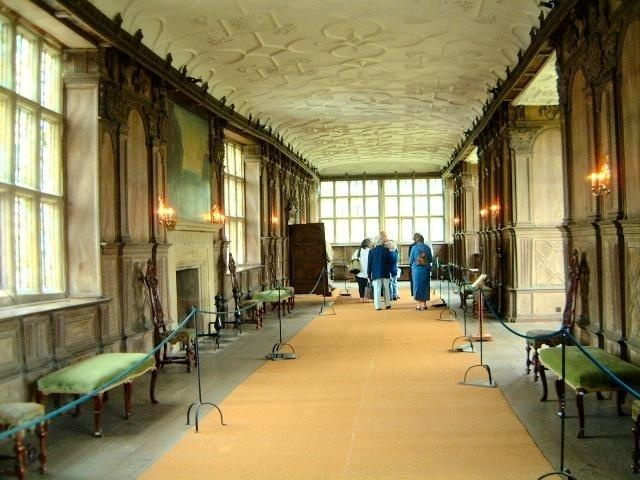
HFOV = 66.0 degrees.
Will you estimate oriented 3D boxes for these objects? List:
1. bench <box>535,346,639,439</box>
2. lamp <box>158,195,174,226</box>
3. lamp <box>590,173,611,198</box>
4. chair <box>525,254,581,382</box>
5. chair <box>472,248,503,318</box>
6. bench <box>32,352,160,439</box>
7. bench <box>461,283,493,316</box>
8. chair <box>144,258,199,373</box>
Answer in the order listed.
[{"bbox_3d":[2.982,1.765,5.353,0.698,0.587,1.159,0,0,0],"label":"bench"},{"bbox_3d":[-2.711,-0.518,8.706,0.218,0.541,0.421,-1,1,-2],"label":"lamp"},{"bbox_3d":[3.575,-0.726,6.304,0.126,0.311,0.420,-1,1,10],"label":"lamp"},{"bbox_3d":[3.403,0.983,7.117,0.530,1.431,0.523,-2,4,18],"label":"chair"},{"bbox_3d":[4.208,1.122,12.461,0.641,1.438,0.964,6,-6,7],"label":"chair"},{"bbox_3d":[-2.508,1.735,5.759,1.007,0.591,1.094,-1,1,18],"label":"bench"},{"bbox_3d":[4.034,1.519,12.446,0.939,0.667,1.361,0,0,9],"label":"bench"},{"bbox_3d":[-2.531,1.185,8.207,0.800,1.766,1.559,-2,1,-16],"label":"chair"}]
